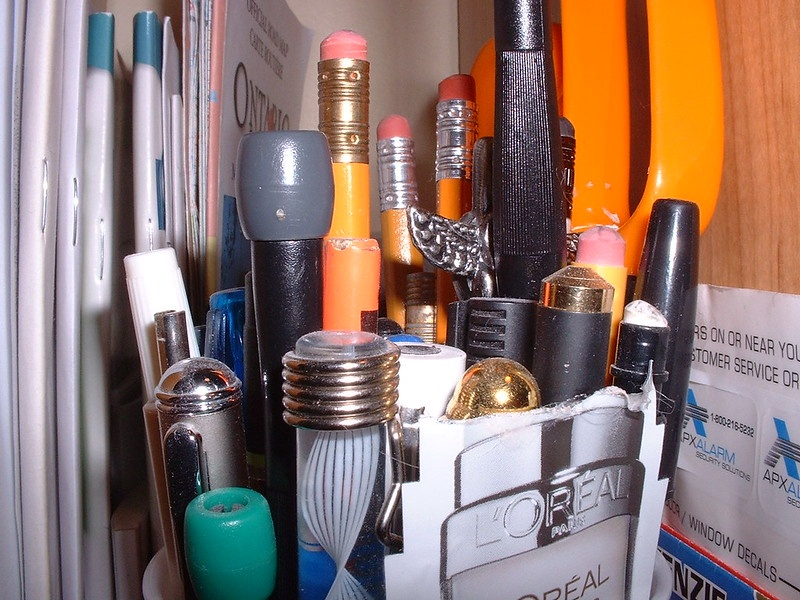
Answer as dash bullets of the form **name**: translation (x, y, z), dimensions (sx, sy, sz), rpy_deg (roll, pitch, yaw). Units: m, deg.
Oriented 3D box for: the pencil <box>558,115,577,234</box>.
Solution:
- **pencil**: translation (0.143, -0.111, 0.665), dimensions (0.012, 0.068, 0.013), rpy_deg (-7, 42, 10)
